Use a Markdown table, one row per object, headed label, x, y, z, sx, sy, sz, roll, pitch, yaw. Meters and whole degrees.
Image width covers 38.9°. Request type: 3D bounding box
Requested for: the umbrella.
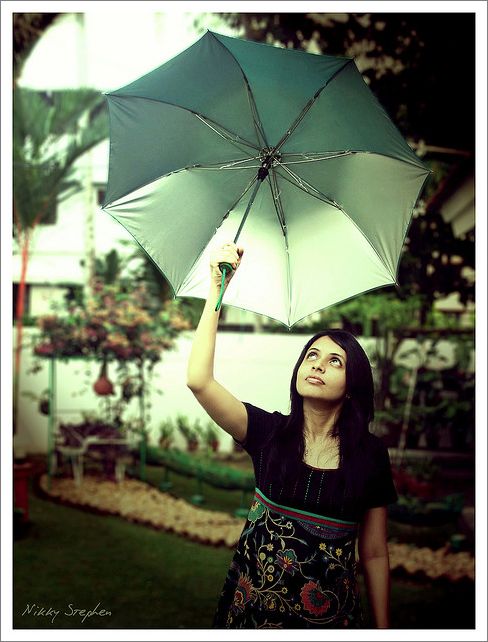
| label | x | y | z | sx | sy | sz | roll | pitch | yaw |
| --- | --- | --- | --- | --- | --- | --- | --- | --- | --- |
| umbrella | 0.076 | -0.590 | 2.628 | 1.214 | 0.796 | 0.496 | 6 | -2 | 11 |
